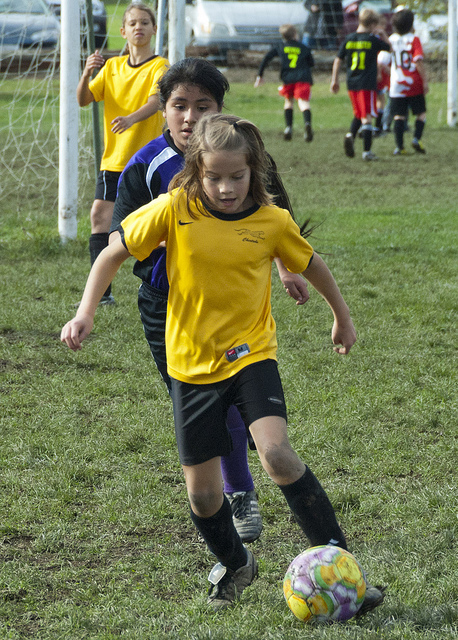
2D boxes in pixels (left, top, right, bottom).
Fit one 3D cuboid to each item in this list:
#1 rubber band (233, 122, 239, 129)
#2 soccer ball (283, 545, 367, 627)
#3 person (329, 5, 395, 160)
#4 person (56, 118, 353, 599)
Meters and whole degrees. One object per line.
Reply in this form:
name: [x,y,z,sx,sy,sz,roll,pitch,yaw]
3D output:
rubber band: [0.020,-0.557,2.250,0.010,0.011,0.012,-2,24,21]
soccer ball: [0.263,0.744,2.177,0.227,0.214,0.136,1,10,11]
person: [1.916,-3.425,11.333,0.873,2.179,1.093,0,10,10]
person: [-0.052,0.139,2.388,0.796,1.463,0.492,1,10,10]
